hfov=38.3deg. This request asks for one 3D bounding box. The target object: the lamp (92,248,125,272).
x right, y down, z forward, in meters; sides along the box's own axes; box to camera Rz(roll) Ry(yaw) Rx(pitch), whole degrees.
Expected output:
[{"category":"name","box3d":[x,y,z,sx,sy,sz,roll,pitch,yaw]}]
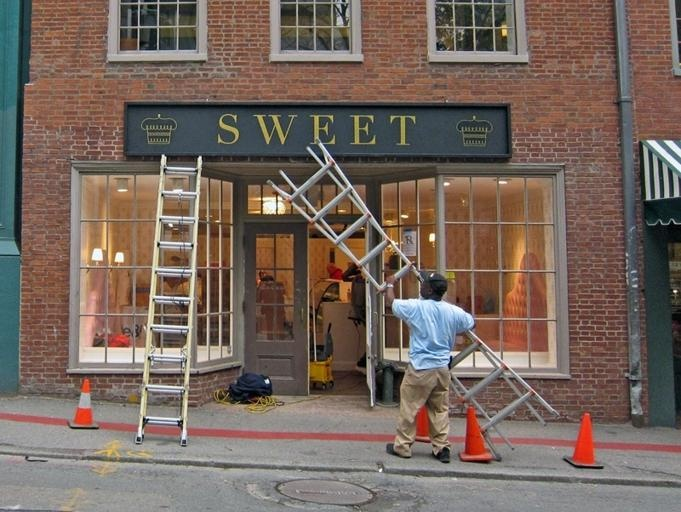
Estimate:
[{"category":"lamp","box3d":[-3.628,0.001,15.404,0.513,0.248,0.067,2,11,-4]}]

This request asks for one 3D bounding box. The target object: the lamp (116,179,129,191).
[{"category":"lamp","box3d":[-3.396,-1.122,15.434,0.207,0.193,0.197,0,2,-11]}]

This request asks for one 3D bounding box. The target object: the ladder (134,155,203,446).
[{"category":"ladder","box3d":[-2.683,0.560,14.855,0.810,4.035,1.098,9,1,-4]}]

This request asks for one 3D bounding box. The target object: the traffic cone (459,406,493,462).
[{"category":"traffic cone","box3d":[1.813,2.360,13.095,0.428,0.708,0.436,0,-3,8]}]

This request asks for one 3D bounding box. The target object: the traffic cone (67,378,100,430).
[{"category":"traffic cone","box3d":[-3.633,2.060,13.950,0.400,0.679,0.604,0,11,-14]}]

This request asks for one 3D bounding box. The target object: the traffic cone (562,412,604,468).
[{"category":"traffic cone","box3d":[3.288,2.443,13.208,0.505,0.697,0.548,5,11,10]}]

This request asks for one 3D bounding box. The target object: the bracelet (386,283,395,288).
[{"category":"bracelet","box3d":[0.666,0.386,13.005,0.082,0.048,0.076,3,-6,-26]}]

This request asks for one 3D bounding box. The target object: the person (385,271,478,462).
[{"category":"person","box3d":[1.105,1.470,13.076,1.114,2.435,0.756,4,11,5]}]
